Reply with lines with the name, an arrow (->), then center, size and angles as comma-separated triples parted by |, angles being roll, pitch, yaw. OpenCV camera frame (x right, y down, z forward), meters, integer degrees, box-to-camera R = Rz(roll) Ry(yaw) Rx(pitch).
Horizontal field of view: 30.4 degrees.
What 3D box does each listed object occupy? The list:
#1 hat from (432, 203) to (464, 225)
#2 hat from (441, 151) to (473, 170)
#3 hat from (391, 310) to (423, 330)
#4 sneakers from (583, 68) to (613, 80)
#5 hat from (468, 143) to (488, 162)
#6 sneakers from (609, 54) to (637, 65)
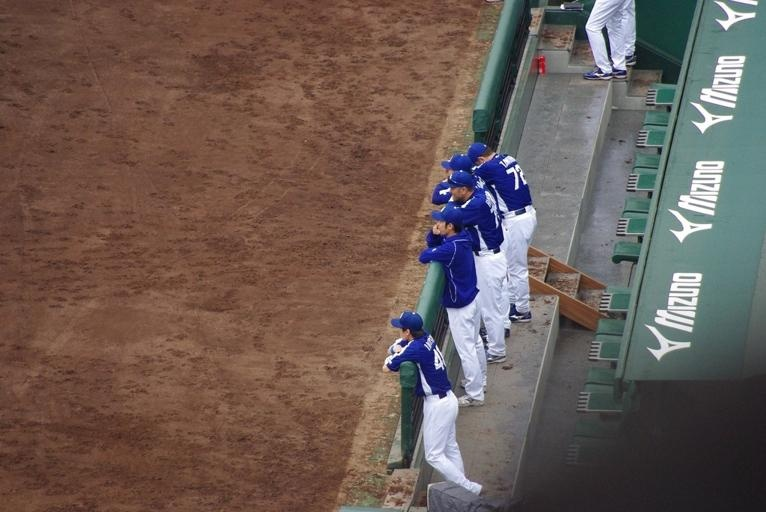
hat -> 0.854, -0.581, 18.687 | 0.383, 0.242, 0.415 | 4, 31, -6
hat -> 0.975, -1.280, 19.293 | 0.381, 0.182, 0.223 | 19, 38, 9
hat -> 0.321, 0.810, 18.175 | 0.364, 0.169, 0.220 | 20, 26, 15
sneakers -> 3.413, -2.903, 22.554 | 0.527, 0.182, 0.155 | 3, 36, 5
hat -> 1.310, -1.466, 19.516 | 0.176, 0.218, 0.274 | 42, 47, -18
sneakers -> 3.954, -3.185, 22.784 | 0.127, 0.119, 0.313 | -6, 23, -17
